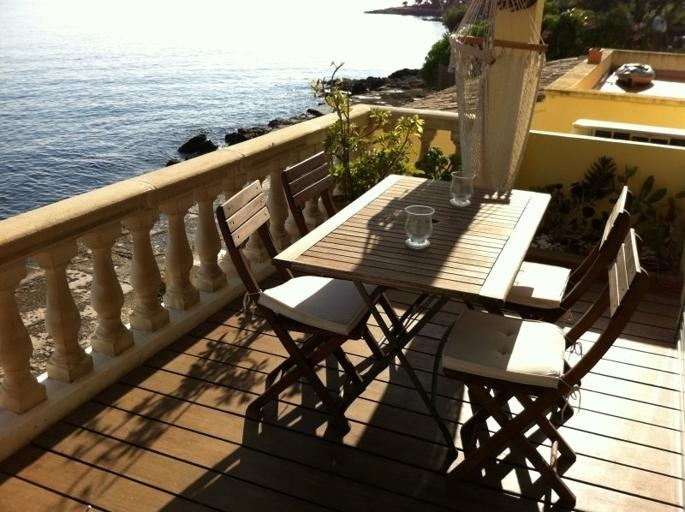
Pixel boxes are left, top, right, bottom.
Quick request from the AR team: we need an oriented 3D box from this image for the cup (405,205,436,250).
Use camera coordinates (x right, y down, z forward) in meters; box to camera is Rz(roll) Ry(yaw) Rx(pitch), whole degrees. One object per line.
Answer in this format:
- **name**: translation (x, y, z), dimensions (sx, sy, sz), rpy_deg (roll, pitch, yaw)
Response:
- **cup**: translation (0.428, -0.143, 2.326), dimensions (0.141, 0.154, 0.229), rpy_deg (6, 31, 11)

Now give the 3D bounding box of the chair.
- **chair**: translation (0.379, 0.437, 2.682), dimensions (1.921, 1.074, 1.615), rpy_deg (13, 37, 25)
